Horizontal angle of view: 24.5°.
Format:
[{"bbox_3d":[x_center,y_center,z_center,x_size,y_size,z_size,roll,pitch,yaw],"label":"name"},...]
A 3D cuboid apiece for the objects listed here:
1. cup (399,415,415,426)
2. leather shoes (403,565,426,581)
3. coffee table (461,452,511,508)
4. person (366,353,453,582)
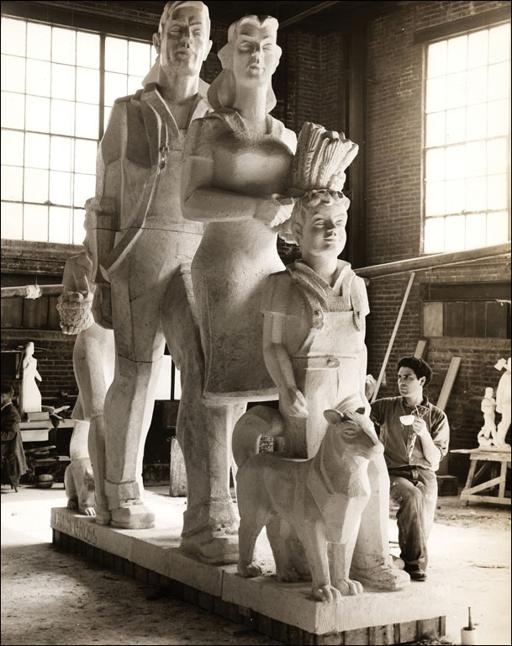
[{"bbox_3d":[0.707,0.455,5.562,0.053,0.039,0.057,1,-4,0],"label":"cup"},{"bbox_3d":[0.661,1.052,4.967,0.042,0.057,0.120,3,-10,-20],"label":"leather shoes"},{"bbox_3d":[1.837,1.256,9.539,0.389,0.425,0.487,0,0,-40],"label":"coffee table"},{"bbox_3d":[0.698,0.628,5.549,0.387,0.935,1.032,1,-1,8],"label":"person"}]
